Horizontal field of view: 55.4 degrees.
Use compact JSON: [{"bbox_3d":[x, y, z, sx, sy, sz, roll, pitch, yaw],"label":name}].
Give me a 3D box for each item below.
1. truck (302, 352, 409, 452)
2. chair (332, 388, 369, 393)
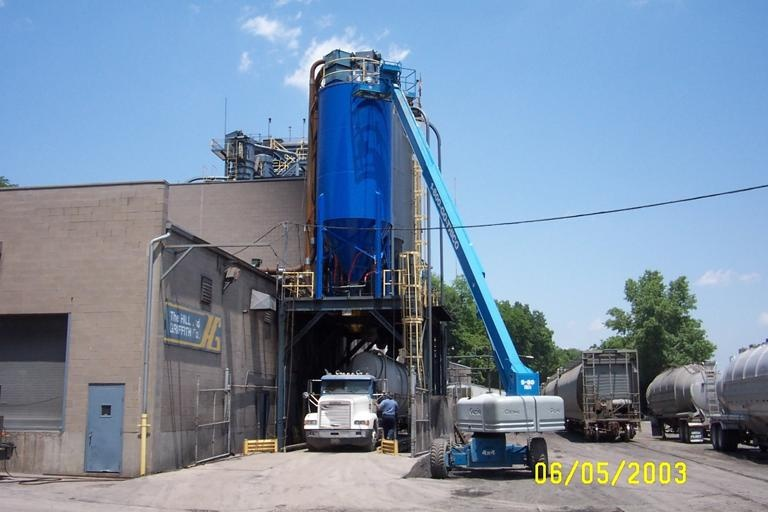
[{"bbox_3d":[-1.366,7.648,37.003,2.861,4.019,7.745,-4,-21,11],"label":"truck"},{"bbox_3d":[-1.468,6.316,34.440,1.041,0.164,0.107,-2,-9,4],"label":"chair"}]
